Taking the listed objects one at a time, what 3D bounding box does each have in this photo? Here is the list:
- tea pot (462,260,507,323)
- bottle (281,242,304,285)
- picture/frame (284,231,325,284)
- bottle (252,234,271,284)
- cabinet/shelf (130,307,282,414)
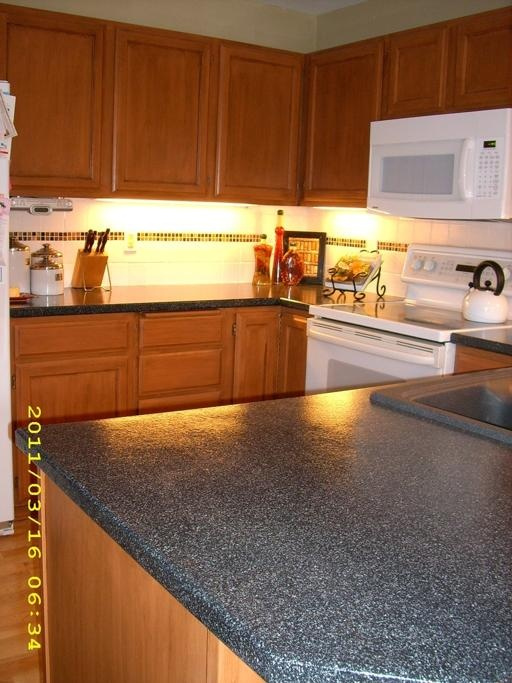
[{"bbox_3d":[1.044,-0.224,2.511,0.193,0.269,0.281,4,7,20],"label":"tea pot"},{"bbox_3d":[0.228,-0.475,3.569,0.141,0.226,0.108,2,7,4],"label":"bottle"},{"bbox_3d":[0.312,-0.540,3.567,0.340,0.386,0.031,8,12,36],"label":"picture/frame"},{"bbox_3d":[0.042,-0.540,3.620,0.115,0.320,0.242,2,7,0],"label":"bottle"},{"bbox_3d":[-0.320,0.106,3.113,0.873,0.565,0.458,-5,12,-42],"label":"cabinet/shelf"}]
